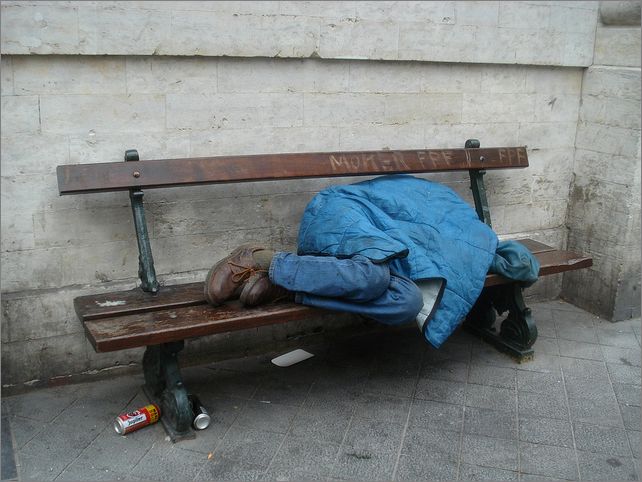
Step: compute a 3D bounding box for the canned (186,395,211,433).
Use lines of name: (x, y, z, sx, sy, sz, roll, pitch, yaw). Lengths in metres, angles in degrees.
canned: (-0.866, 1.180, 3.499, 0.129, 0.113, 0.273, -7, 20, -30)

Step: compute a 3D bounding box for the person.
person: (0.017, 0.248, 3.691, 1.501, 0.503, 0.890, 5, 10, 10)
